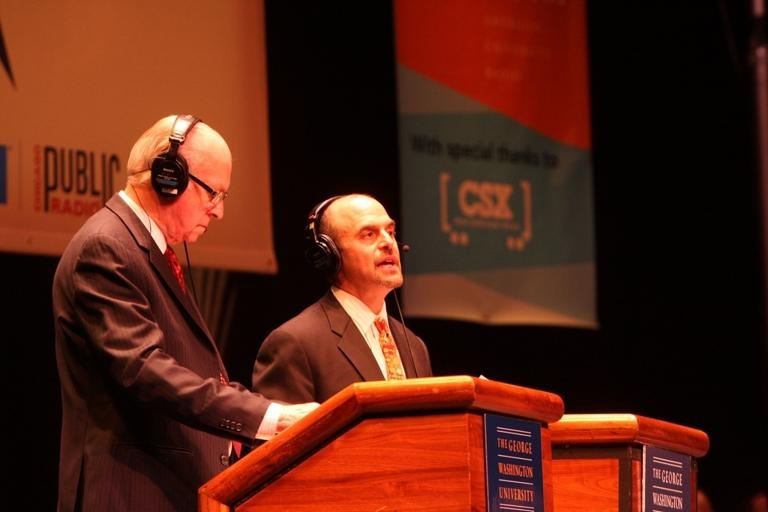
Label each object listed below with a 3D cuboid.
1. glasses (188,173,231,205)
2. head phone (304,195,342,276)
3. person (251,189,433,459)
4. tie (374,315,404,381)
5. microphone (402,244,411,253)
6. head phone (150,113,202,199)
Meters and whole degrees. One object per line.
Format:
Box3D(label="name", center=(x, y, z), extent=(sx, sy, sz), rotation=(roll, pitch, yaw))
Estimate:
Box3D(label="glasses", center=(-0.628, -0.254, 3.163), extent=(0.101, 0.033, 0.099), rotation=(38, -6, -4))
Box3D(label="head phone", center=(-0.271, -0.079, 3.996), extent=(0.095, 0.318, 0.262), rotation=(-14, -37, 10))
Box3D(label="person", center=(-0.130, 0.313, 3.935), extent=(1.025, 1.170, 0.537), rotation=(15, -25, -41))
Box3D(label="tie", center=(0.024, 0.387, 3.824), extent=(0.118, 0.243, 0.252), rotation=(-2, 5, -9))
Box3D(label="microphone", center=(0.104, -0.043, 4.405), extent=(0.043, 0.053, 0.049), rotation=(-1, 31, 7))
Box3D(label="head phone", center=(-0.735, -0.355, 3.222), extent=(0.103, 0.301, 0.318), rotation=(9, -2, -1))
